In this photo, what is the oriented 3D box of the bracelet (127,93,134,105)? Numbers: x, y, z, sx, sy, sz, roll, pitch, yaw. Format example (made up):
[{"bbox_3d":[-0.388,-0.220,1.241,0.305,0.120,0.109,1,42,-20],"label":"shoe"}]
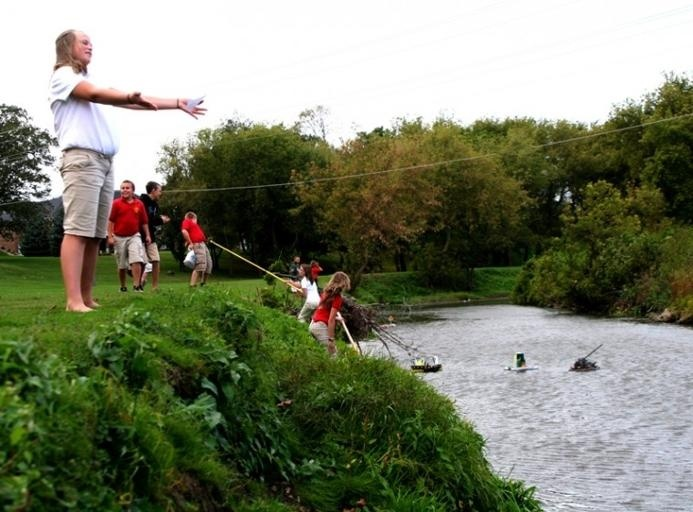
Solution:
[{"bbox_3d":[-2.404,-1.719,7.315,0.079,0.107,0.052,5,0,-17],"label":"bracelet"}]

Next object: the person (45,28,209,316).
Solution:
[{"bbox_3d":[-2.953,-0.954,7.811,1.056,3.110,0.822,5,0,19],"label":"person"}]

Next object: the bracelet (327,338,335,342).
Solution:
[{"bbox_3d":[-0.314,1.593,12.632,0.121,0.081,0.127,0,-8,2],"label":"bracelet"}]
